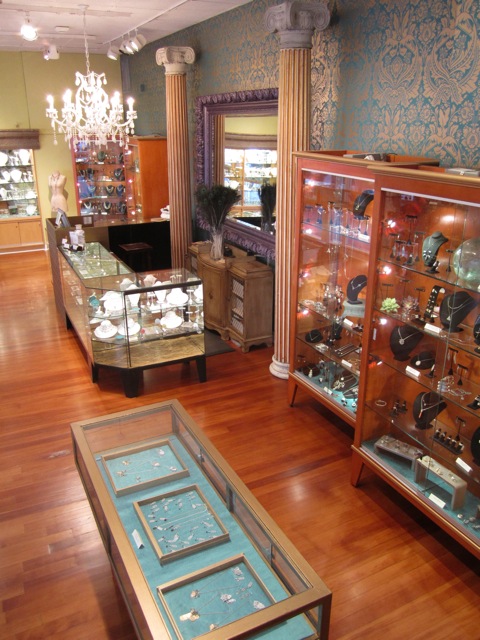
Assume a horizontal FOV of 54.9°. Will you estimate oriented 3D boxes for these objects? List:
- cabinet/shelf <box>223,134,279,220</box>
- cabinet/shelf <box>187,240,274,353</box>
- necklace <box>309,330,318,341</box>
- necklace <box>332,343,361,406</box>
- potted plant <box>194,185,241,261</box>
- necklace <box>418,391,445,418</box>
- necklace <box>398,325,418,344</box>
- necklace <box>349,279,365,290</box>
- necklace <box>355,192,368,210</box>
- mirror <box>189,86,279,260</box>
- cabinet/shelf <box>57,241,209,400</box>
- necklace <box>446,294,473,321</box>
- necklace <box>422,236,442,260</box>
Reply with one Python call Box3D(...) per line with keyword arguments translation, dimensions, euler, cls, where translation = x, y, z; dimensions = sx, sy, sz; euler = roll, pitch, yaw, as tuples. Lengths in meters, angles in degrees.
Box3D(translation=(0.131, -1.599, 5.188), dimensions=(0.368, 0.957, 1.037), euler=(-11, 31, -20), cls="cabinet/shelf")
Box3D(translation=(-0.080, -0.222, 5.110), dimensions=(0.399, 0.749, 1.101), euler=(-10, 28, -24), cls="cabinet/shelf")
Box3D(translation=(0.572, 0.126, 3.636), dimensions=(0.021, 0.071, 0.077), euler=(6, -13, -32), cls="necklace")
Box3D(translation=(0.762, 0.380, 3.320), dimensions=(0.198, 0.331, 0.352), euler=(-6, 29, -14), cls="necklace")
Box3D(translation=(-0.281, -1.118, 5.324), dimensions=(0.498, 0.819, 0.377), euler=(15, 23, 42), cls="potted plant")
Box3D(translation=(1.038, 0.455, 2.511), dimensions=(0.071, 0.126, 0.132), euler=(-19, 28, -12), cls="necklace")
Box3D(translation=(0.944, 0.080, 2.609), dimensions=(0.041, 0.075, 0.078), euler=(-13, 33, -23), cls="necklace")
Box3D(translation=(0.773, -0.240, 3.085), dimensions=(0.086, 0.077, 0.066), euler=(-19, 35, -24), cls="necklace")
Box3D(translation=(0.746, -0.734, 2.860), dimensions=(0.035, 0.088, 0.049), euler=(6, 26, -29), cls="necklace")
Box3D(translation=(-0.052, -1.739, 5.427), dimensions=(0.170, 2.125, 2.146), euler=(-9, 25, -26), cls="mirror")
Box3D(translation=(-1.148, -0.025, 4.623), dimensions=(1.528, 1.200, 0.895), euler=(15, 23, 43), cls="cabinet/shelf")
Box3D(translation=(1.040, -0.069, 2.232), dimensions=(0.100, 0.115, 0.119), euler=(-32, 24, 42), cls="necklace")
Box3D(translation=(0.970, -0.364, 2.345), dimensions=(0.067, 0.108, 0.089), euler=(-15, 30, -24), cls="necklace")
